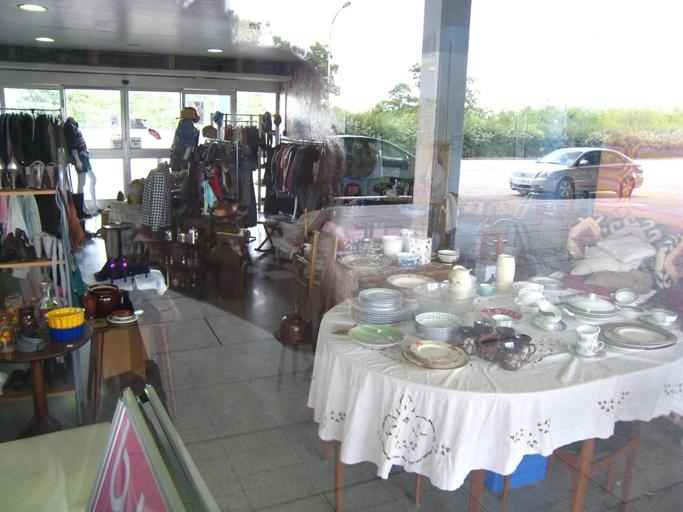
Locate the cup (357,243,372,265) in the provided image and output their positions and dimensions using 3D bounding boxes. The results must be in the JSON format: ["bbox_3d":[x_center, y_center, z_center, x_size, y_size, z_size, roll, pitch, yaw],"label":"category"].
[{"bbox_3d":[0.084,-0.008,1.777,0.042,0.095,0.068,1,13,2],"label":"cup"}]

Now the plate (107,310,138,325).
[{"bbox_3d":[-1.011,0.288,2.323,0.129,0.052,0.082,-5,14,-23],"label":"plate"}]

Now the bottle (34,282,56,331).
[{"bbox_3d":[-1.354,0.218,2.308,0.127,0.215,0.134,0,8,0],"label":"bottle"}]

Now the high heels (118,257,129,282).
[{"bbox_3d":[-1.050,0.062,2.421,0.052,0.052,0.252,-13,-22,-27],"label":"high heels"}]

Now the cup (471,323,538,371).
[{"bbox_3d":[0.455,0.249,1.437,0.102,0.046,0.137,-2,14,-15],"label":"cup"}]

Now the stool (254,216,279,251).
[{"bbox_3d":[-0.306,-0.084,2.127,0.122,0.128,0.134,6,5,-6],"label":"stool"}]

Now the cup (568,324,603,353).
[{"bbox_3d":[0.683,0.234,1.387,0.068,0.070,0.061,3,13,11],"label":"cup"}]

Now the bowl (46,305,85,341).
[{"bbox_3d":[-1.150,0.279,2.098,0.141,0.104,0.130,4,9,-1],"label":"bowl"}]

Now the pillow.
[{"bbox_3d":[0.742,0.024,1.399,0.046,0.149,0.157,3,-25,-40],"label":"pillow"}]

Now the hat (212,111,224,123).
[{"bbox_3d":[-0.503,-0.557,2.053,0.043,0.047,0.045,10,-2,-40],"label":"hat"}]
